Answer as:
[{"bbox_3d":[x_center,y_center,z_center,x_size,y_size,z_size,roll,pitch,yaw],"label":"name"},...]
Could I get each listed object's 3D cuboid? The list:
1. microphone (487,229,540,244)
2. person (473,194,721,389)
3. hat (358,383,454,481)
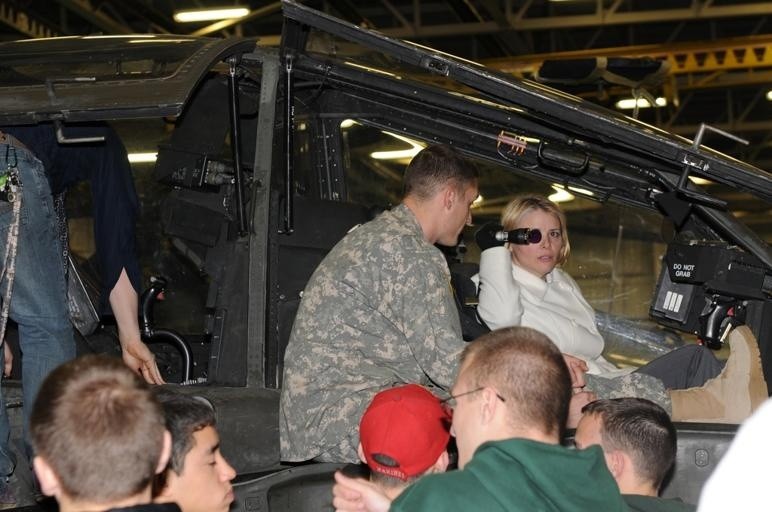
[{"bbox_3d":[0.799,-0.114,4.460,0.297,0.107,0.116,0,-16,10],"label":"microphone"},{"bbox_3d":[1.352,0.272,4.437,0.850,1.269,1.825,-8,7,-36],"label":"person"},{"bbox_3d":[0.088,0.750,3.450,0.452,0.235,0.608,1,24,16],"label":"hat"}]
